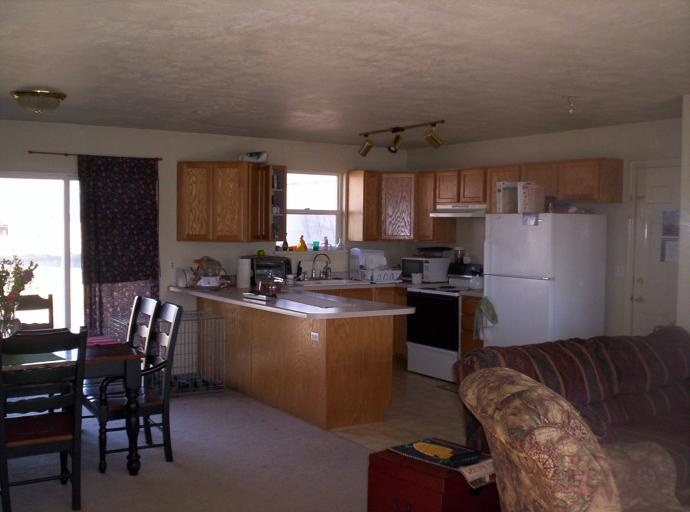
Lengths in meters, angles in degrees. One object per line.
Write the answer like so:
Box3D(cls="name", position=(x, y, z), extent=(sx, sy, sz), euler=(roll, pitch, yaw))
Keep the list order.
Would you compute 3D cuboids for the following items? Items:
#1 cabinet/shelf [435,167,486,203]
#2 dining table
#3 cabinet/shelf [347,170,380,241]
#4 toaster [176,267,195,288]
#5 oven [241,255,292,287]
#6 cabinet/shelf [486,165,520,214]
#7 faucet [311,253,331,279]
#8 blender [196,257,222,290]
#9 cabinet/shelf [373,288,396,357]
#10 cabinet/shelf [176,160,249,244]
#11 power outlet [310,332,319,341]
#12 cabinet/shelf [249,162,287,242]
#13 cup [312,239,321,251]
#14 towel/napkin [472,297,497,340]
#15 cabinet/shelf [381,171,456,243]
Box3D(cls="cabinet/shelf", position=(1.515, -0.916, 6.976), extent=(0.193, 0.340, 0.544), euler=(1, 1, -37))
Box3D(cls="dining table", position=(-2.002, 1.000, 3.954), extent=(0.840, 0.817, 0.927), euler=(-3, 6, -33))
Box3D(cls="cabinet/shelf", position=(0.248, -0.708, 7.536), extent=(0.491, 0.962, 0.242), euler=(0, 3, 3))
Box3D(cls="toaster", position=(-1.931, 0.261, 6.496), extent=(0.212, 0.256, 0.287), euler=(-4, -3, 42))
Box3D(cls="oven", position=(-0.937, 0.136, 6.756), extent=(0.578, 0.382, 0.399), euler=(-1, 2, -24))
Box3D(cls="cabinet/shelf", position=(1.890, -0.820, 6.532), extent=(0.126, 0.557, 0.459), euler=(-2, 4, -30))
Box3D(cls="faucet", position=(-0.316, 0.135, 7.413), extent=(0.310, 0.341, 0.186), euler=(-1, 4, -17))
Box3D(cls="blender", position=(-1.659, 0.204, 6.554), extent=(0.345, 0.426, 0.334), euler=(0, -2, 22))
Box3D(cls="cabinet/shelf", position=(0.564, 0.896, 7.192), extent=(0.198, 0.966, 0.423), euler=(3, 4, 38))
Box3D(cls="cabinet/shelf", position=(-1.577, -0.663, 6.449), extent=(1.008, 0.934, 0.346), euler=(0, 3, 0))
Box3D(cls="power outlet", position=(-0.270, 0.715, 4.759), extent=(0.007, 0.082, 0.132), euler=(-3, 4, -41))
Box3D(cls="cabinet/shelf", position=(-0.966, -0.671, 6.671), extent=(0.516, 0.959, 0.128), euler=(-2, 4, -35))
Box3D(cls="cup", position=(-0.413, -0.150, 7.524), extent=(0.093, 0.147, 0.194), euler=(0, 3, -2))
Box3D(cls="towel/napkin", position=(1.532, 0.626, 5.825), extent=(0.176, 0.139, 0.554), euler=(-3, 19, 16))
Box3D(cls="cabinet/shelf", position=(1.032, -0.712, 7.408), extent=(1.036, 0.903, 0.338), euler=(1, 2, 18))
